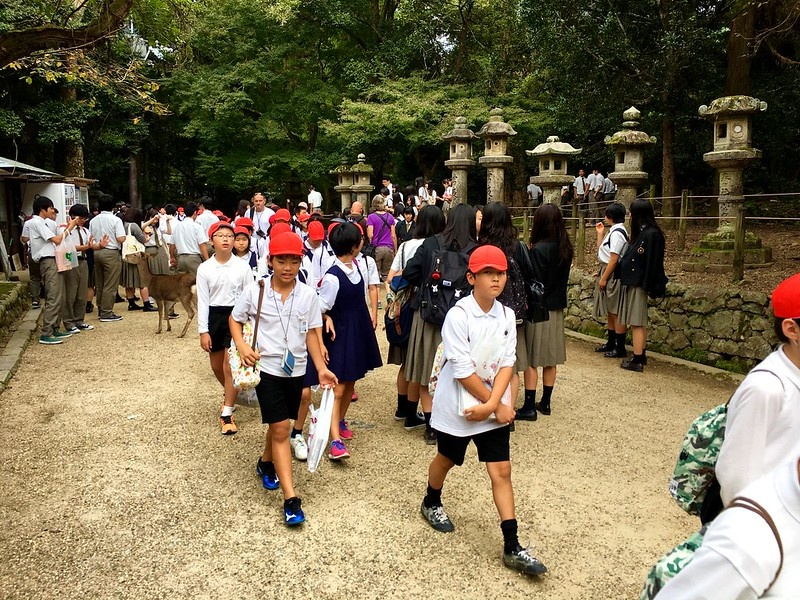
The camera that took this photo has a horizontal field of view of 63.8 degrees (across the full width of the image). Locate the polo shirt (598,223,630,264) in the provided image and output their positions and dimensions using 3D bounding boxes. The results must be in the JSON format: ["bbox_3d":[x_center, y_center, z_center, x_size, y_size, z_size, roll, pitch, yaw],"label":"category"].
[{"bbox_3d":[2.423,-0.645,7.345,0.259,0.477,0.462,5,17,11],"label":"polo shirt"}]

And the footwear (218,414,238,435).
[{"bbox_3d":[-1.504,1.106,5.647,0.087,0.095,0.213,-2,2,-26],"label":"footwear"}]

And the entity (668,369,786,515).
[{"bbox_3d":[1.542,0.694,3.072,0.371,0.697,0.392,0,14,-34],"label":"entity"}]

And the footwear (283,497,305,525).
[{"bbox_3d":[-0.720,1.426,4.372,0.139,0.211,0.172,-2,14,-9],"label":"footwear"}]

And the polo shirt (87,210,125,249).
[{"bbox_3d":[-4.470,-1.039,9.862,0.558,0.670,0.376,5,13,2],"label":"polo shirt"}]

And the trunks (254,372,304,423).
[{"bbox_3d":[-0.820,0.684,4.415,0.319,0.369,0.237,-3,15,-13],"label":"trunks"}]

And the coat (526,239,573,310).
[{"bbox_3d":[1.329,-0.240,5.788,0.464,0.630,0.322,-14,15,-31],"label":"coat"}]

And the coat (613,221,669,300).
[{"bbox_3d":[2.717,-0.438,7.199,0.447,0.796,0.699,5,6,7],"label":"coat"}]

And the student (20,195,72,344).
[{"bbox_3d":[-4.534,-0.410,8.495,0.572,1.942,0.574,-3,0,-19],"label":"student"}]

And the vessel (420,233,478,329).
[{"bbox_3d":[0.412,-0.132,5.201,0.457,0.698,0.380,10,21,15],"label":"vessel"}]

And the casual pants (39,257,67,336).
[{"bbox_3d":[-4.557,-0.028,8.406,0.269,1.029,0.400,-7,-2,-31],"label":"casual pants"}]

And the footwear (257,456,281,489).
[{"bbox_3d":[-1.001,1.285,4.864,0.121,0.122,0.267,-6,27,-44],"label":"footwear"}]

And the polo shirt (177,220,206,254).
[{"bbox_3d":[-3.120,-0.929,9.570,0.415,0.416,0.223,3,17,11],"label":"polo shirt"}]

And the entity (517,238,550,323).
[{"bbox_3d":[1.165,-0.150,5.616,0.200,0.664,0.471,-8,27,1],"label":"entity"}]

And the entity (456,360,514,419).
[{"bbox_3d":[0.547,0.595,3.943,0.354,0.320,0.158,-3,15,-15],"label":"entity"}]

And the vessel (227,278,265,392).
[{"bbox_3d":[-1.067,0.245,4.425,0.282,0.743,0.350,0,14,-4],"label":"vessel"}]

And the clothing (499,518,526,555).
[{"bbox_3d":[0.690,1.459,3.974,0.131,0.243,0.078,3,14,9],"label":"clothing"}]

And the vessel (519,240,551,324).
[{"bbox_3d":[1.182,-0.144,5.641,0.199,0.653,0.473,-16,25,2],"label":"vessel"}]

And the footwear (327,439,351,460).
[{"bbox_3d":[-0.501,1.221,5.238,0.098,0.112,0.229,1,-6,-25],"label":"footwear"}]

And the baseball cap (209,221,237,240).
[{"bbox_3d":[-1.594,-0.623,5.735,0.147,0.210,0.208,3,39,-37],"label":"baseball cap"}]

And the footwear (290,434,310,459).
[{"bbox_3d":[-0.824,1.205,5.327,0.099,0.128,0.300,-4,11,-23],"label":"footwear"}]

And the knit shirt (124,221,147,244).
[{"bbox_3d":[-4.130,-1.044,10.010,0.311,0.469,0.187,-7,-4,-4],"label":"knit shirt"}]

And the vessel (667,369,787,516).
[{"bbox_3d":[1.509,0.692,3.047,0.322,0.650,0.213,9,13,14],"label":"vessel"}]

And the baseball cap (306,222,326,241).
[{"bbox_3d":[-0.752,-0.620,5.770,0.118,0.098,0.178,-2,21,-19],"label":"baseball cap"}]

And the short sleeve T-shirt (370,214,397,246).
[{"bbox_3d":[-0.287,-1.118,10.272,0.440,0.475,0.265,-7,15,-22],"label":"short sleeve T-shirt"}]

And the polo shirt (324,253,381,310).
[{"bbox_3d":[-0.393,-0.119,5.648,0.514,0.586,0.311,-1,4,-2],"label":"polo shirt"}]

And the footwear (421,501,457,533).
[{"bbox_3d":[0.253,1.492,4.369,0.106,0.125,0.259,-11,18,-38],"label":"footwear"}]

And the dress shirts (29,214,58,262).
[{"bbox_3d":[-4.674,-0.792,8.423,0.277,0.559,0.498,-9,10,-34],"label":"dress shirts"}]

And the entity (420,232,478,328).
[{"bbox_3d":[0.380,-0.119,5.199,0.402,0.618,0.337,10,15,6],"label":"entity"}]
